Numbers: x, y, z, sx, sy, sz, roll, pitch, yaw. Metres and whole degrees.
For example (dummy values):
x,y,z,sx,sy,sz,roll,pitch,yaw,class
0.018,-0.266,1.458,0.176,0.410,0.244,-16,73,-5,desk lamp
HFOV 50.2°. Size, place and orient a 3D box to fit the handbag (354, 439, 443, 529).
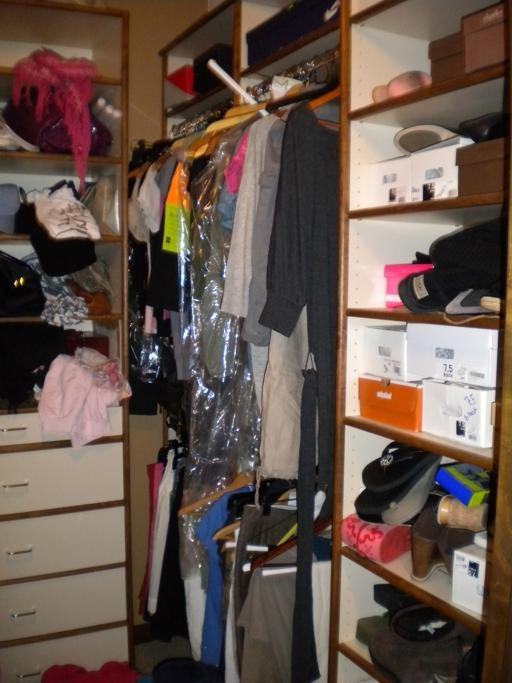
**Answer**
x,y,z,sx,sy,sz,roll,pitch,yaw,class
0.323,0.307,1.205,0.063,0.216,0.138,39,-21,-22,handbag
